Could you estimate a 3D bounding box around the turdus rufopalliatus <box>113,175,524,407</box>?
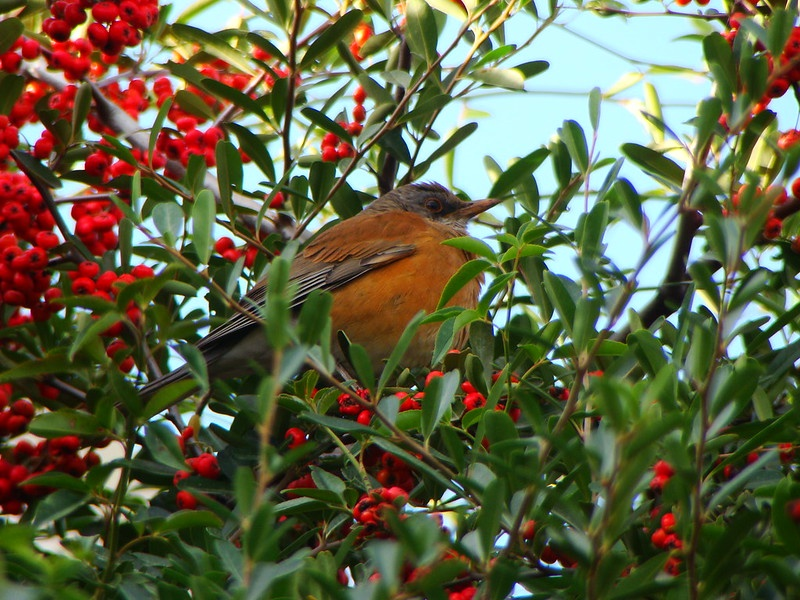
[{"bbox_3d":[-0.420,-0.047,5.816,2.041,0.982,0.665,-7,-19,-13],"label":"turdus rufopalliatus"}]
